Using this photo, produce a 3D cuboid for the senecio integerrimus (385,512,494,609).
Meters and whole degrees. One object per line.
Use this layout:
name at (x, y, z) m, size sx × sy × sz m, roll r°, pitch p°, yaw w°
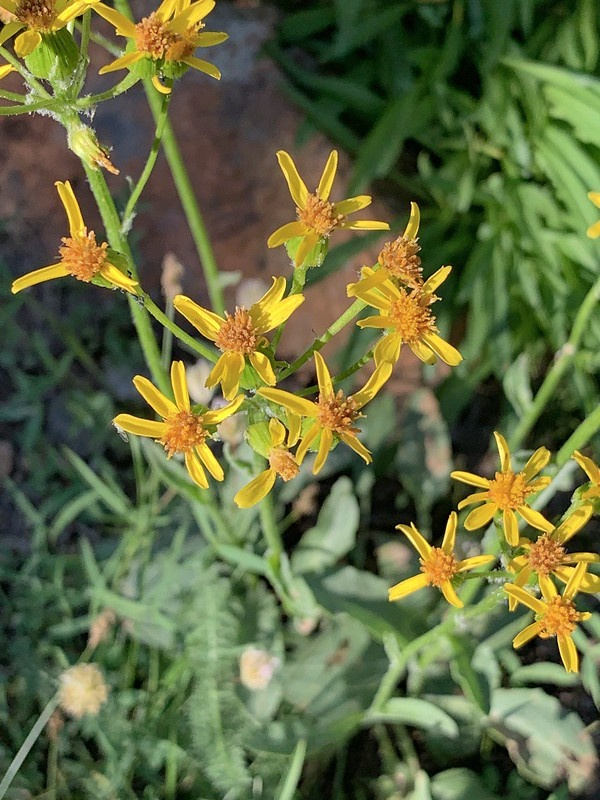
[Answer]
senecio integerrimus at (0.203, 0.246, 1.109) m, size 0.150 × 0.214 × 0.123 m, roll 8°, pitch 58°, yaw -6°
